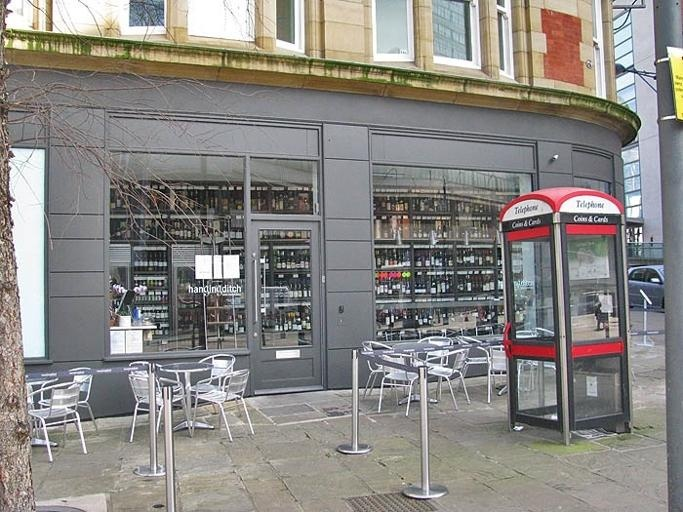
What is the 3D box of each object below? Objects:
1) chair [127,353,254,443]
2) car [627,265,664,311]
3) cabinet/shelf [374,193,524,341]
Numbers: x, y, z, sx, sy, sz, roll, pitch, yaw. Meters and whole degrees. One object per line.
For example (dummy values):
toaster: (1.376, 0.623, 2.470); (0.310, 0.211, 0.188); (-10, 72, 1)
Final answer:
chair: (-1.950, 1.923, 9.820); (1.408, 0.818, 1.316); (-1, -6, 5)
car: (10.598, 1.114, 23.504); (0.791, 1.469, 2.029); (-1, 4, 2)
cabinet/shelf: (1.810, 0.220, 12.371); (2.555, 2.635, 0.844); (-2, 1, -15)
